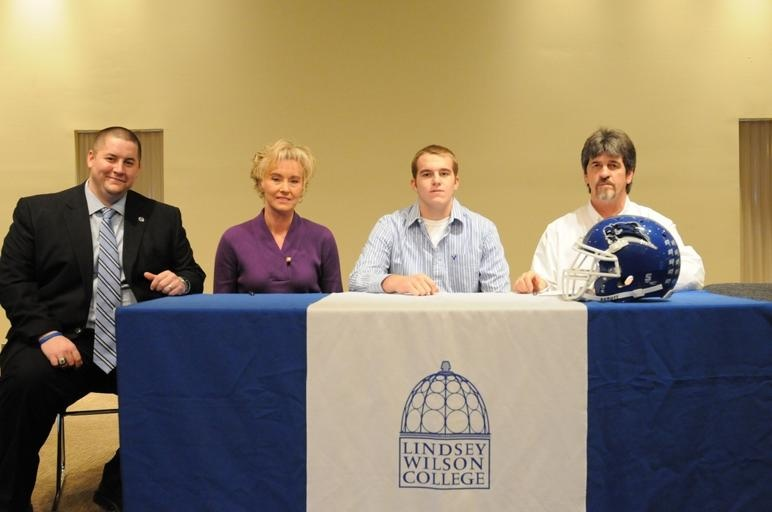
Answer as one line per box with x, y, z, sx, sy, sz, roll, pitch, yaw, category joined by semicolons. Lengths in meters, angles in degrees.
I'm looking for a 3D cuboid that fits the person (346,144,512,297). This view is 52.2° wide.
0.304;-0.108;5.876;1.370;1.265;1.004;0;3;-2;person

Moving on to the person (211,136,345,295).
-0.813;-0.292;6.002;0.936;1.147;0.310;1;-6;-16;person

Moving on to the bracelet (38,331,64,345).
-2.232;0.550;5.276;0.139;0.090;0.055;2;-6;-23;bracelet

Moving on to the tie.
-1.920;0.233;5.472;0.183;1.160;0.166;0;-5;-5;tie

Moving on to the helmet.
1.423;0.027;4.923;0.647;0.481;0.507;1;-1;8;helmet

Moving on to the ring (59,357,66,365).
-2.124;0.706;5.227;0.068;0.060;0.025;3;-7;-34;ring
